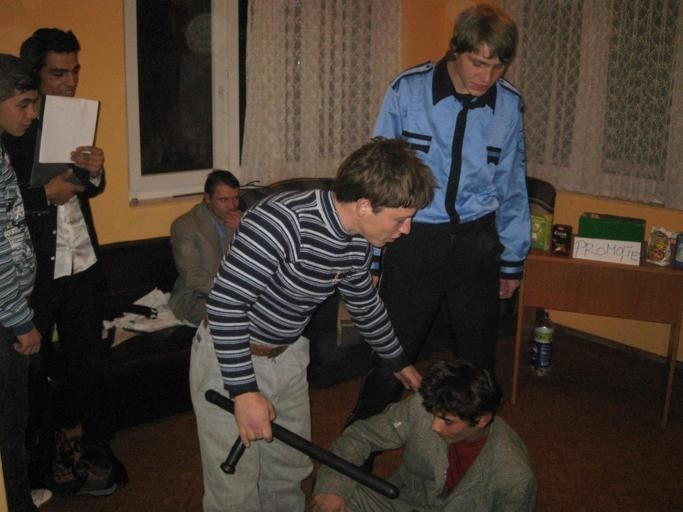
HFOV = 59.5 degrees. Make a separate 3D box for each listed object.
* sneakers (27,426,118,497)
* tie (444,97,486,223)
[{"bbox_3d":[-1.321,1.118,3.220,0.592,0.262,0.212,17,14,-22],"label":"sneakers"},{"bbox_3d":[0.534,-0.421,2.662,0.133,0.552,0.073,0,10,-1],"label":"tie"}]
